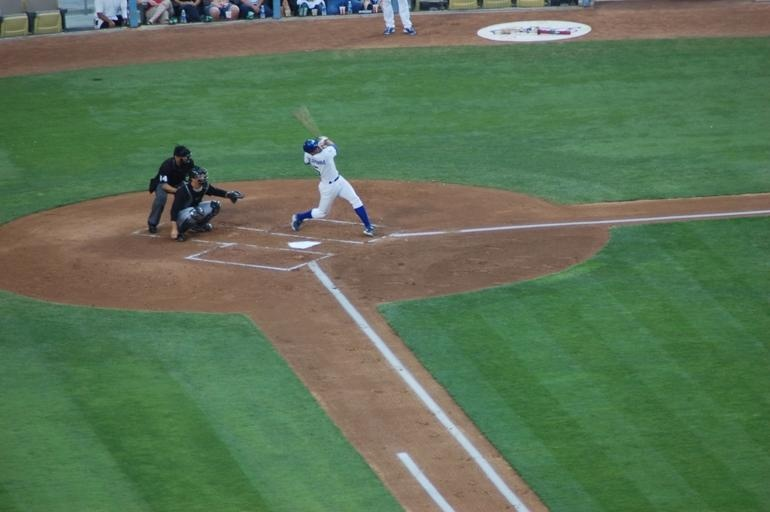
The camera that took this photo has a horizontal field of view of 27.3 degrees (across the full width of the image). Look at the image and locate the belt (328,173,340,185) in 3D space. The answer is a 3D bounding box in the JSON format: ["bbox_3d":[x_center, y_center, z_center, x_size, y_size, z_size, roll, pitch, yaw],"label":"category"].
[{"bbox_3d":[-1.205,-1.716,34.815,0.395,0.228,0.161,-8,23,-12],"label":"belt"}]

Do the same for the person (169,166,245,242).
[{"bbox_3d":[-4.097,-1.204,35.188,2.127,1.261,1.133,-15,30,-39],"label":"person"}]

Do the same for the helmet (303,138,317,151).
[{"bbox_3d":[-1.643,-2.414,34.643,0.347,0.276,0.295,-5,21,-1],"label":"helmet"}]

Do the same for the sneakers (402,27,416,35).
[{"bbox_3d":[0.707,-6.599,46.403,0.347,0.217,0.232,-7,21,-9],"label":"sneakers"}]

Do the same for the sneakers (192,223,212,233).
[{"bbox_3d":[-4.072,-0.620,35.218,0.544,0.107,0.287,-5,-1,-12],"label":"sneakers"}]

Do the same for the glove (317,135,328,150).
[{"bbox_3d":[-1.400,-2.496,34.666,0.283,0.252,0.091,-1,48,-9],"label":"glove"}]

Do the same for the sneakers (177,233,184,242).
[{"bbox_3d":[-4.493,-0.403,34.854,0.189,0.168,0.109,-21,28,-37],"label":"sneakers"}]

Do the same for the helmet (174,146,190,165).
[{"bbox_3d":[-4.498,-2.233,34.846,0.342,0.425,0.220,-8,24,-5],"label":"helmet"}]
